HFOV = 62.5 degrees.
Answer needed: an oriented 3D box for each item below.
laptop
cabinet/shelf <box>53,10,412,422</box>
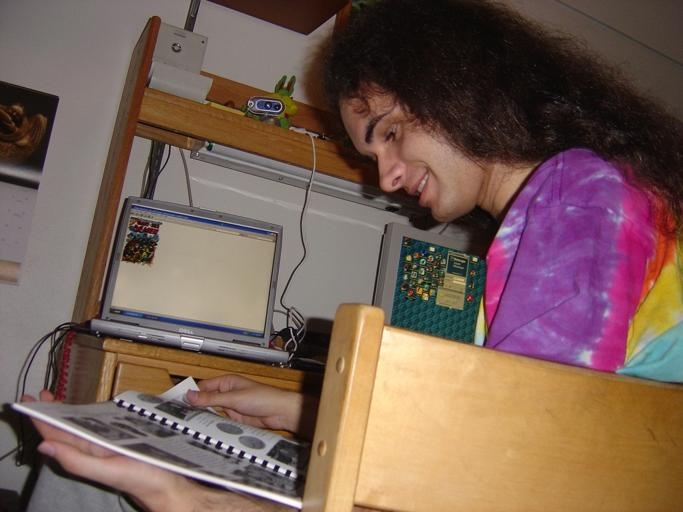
[{"bbox_3d":[-0.395,0.043,1.554,0.487,0.415,0.391,14,-1,-12],"label":"laptop"},{"bbox_3d":[-0.322,-0.117,1.445,0.901,0.888,0.322,22,-11,-19],"label":"cabinet/shelf"}]
